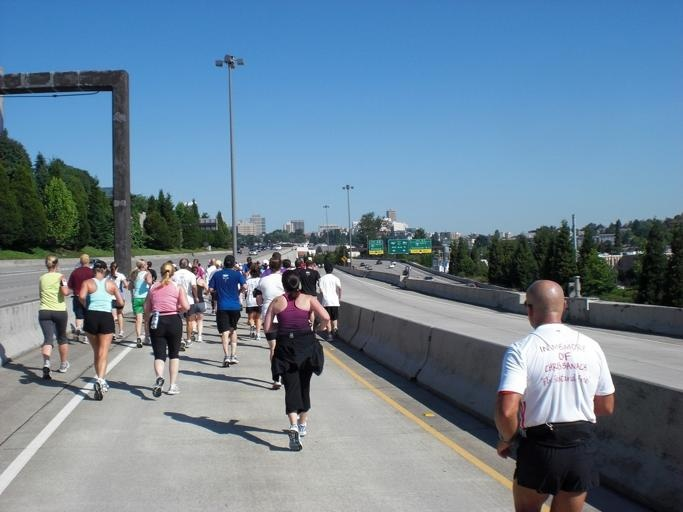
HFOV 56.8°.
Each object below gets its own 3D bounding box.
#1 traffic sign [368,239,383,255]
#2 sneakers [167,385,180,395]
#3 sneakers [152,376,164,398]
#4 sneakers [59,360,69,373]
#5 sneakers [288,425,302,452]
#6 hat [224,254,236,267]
[{"bbox_3d":[7.020,-1.768,133.770,2.758,2.813,0.399,-1,-1,-42],"label":"traffic sign"},{"bbox_3d":[-2.830,2.260,10.740,0.099,0.127,0.273,0,3,1],"label":"sneakers"},{"bbox_3d":[-2.995,2.146,10.405,0.144,0.413,0.163,0,21,-30],"label":"sneakers"},{"bbox_3d":[-5.384,2.147,12.393,0.114,0.157,0.344,0,10,4],"label":"sneakers"},{"bbox_3d":[-0.594,2.311,8.018,0.121,0.331,0.139,-5,-5,5],"label":"sneakers"},{"bbox_3d":[-2.419,0.107,13.734,0.211,0.355,0.271,9,42,-10],"label":"hat"}]
